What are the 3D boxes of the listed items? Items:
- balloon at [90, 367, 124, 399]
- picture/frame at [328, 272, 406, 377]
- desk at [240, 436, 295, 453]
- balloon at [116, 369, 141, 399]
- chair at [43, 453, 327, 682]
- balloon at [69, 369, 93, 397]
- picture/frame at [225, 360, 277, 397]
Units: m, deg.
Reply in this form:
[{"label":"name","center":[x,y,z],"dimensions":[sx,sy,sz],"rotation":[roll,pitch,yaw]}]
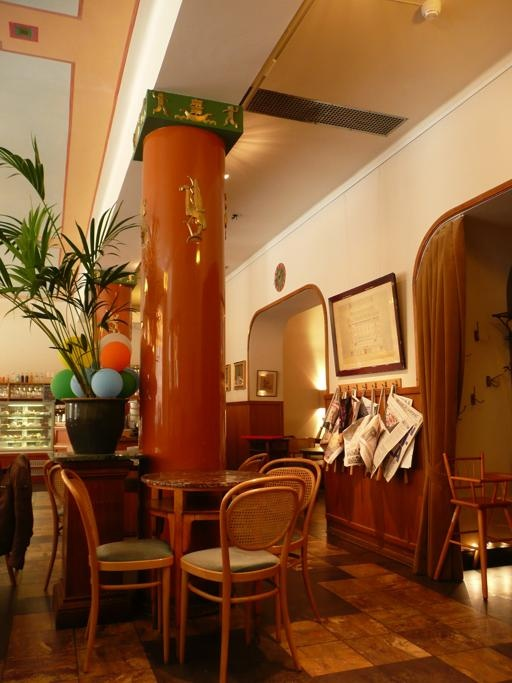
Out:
[{"label":"balloon","center":[-0.943,0.268,3.132],"dimensions":[0.204,0.194,0.172],"rotation":[6,-10,-24]},{"label":"picture/frame","center":[1.076,-0.124,4.873],"dimensions":[0.040,0.888,1.106],"rotation":[-3,-6,-25]},{"label":"desk","center":[0.147,1.624,7.783],"dimensions":[0.719,0.282,1.049],"rotation":[2,-10,-1]},{"label":"balloon","center":[-0.854,0.284,3.360],"dimensions":[0.148,0.213,0.163],"rotation":[-6,-9,3]},{"label":"chair","center":[-0.299,1.023,2.376],"dimensions":[1.115,0.849,1.312],"rotation":[0,-10,11]},{"label":"balloon","center":[-1.171,0.270,3.253],"dimensions":[0.173,0.186,0.114],"rotation":[-4,-10,29]},{"label":"picture/frame","center":[-0.163,0.665,8.606],"dimensions":[1.081,0.642,0.535],"rotation":[-8,-13,44]}]
